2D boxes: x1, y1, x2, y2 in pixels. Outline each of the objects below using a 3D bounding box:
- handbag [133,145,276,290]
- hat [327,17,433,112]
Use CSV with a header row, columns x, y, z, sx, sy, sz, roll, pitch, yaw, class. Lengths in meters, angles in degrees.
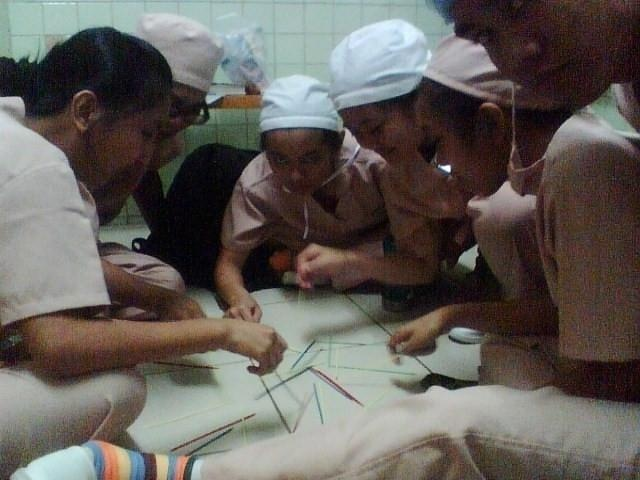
x,y,z,sx,sy,sz,roll,pitch,yaw,class
-0.345,-0.068,1.758,0.277,0.415,0.140,6,6,-2,handbag
0.147,-0.440,1.738,0.177,0.133,0.236,-25,12,26,hat
